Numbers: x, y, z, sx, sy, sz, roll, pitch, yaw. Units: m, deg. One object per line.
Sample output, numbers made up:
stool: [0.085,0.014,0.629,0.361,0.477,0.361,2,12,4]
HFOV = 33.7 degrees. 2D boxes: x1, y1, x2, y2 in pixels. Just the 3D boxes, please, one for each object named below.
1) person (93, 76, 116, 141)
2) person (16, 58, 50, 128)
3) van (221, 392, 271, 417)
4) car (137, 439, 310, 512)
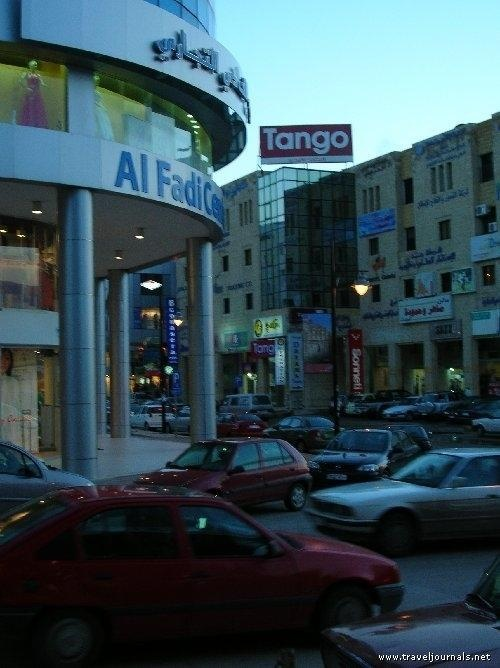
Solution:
person: [-3.145,-4.822,17.579,0.346,1.201,0.658,-5,-1,-8]
person: [-4.480,-4.830,16.619,0.668,1.115,0.565,-4,-1,-22]
van: [-0.218,3.653,42.513,1.297,0.858,2.102,1,0,-43]
car: [-0.110,2.260,13.535,2.815,1.039,1.678,7,-10,-39]
